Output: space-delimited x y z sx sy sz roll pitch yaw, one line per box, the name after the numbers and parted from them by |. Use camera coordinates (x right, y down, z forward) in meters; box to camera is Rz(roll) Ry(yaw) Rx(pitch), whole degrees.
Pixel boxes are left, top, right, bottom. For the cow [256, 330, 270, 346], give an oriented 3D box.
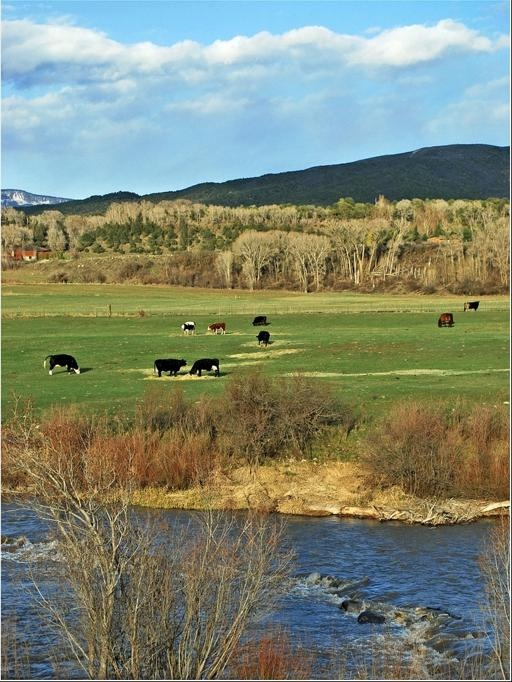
0.403 -0.066 69.265 0.671 0.795 2.283 -5 3 0 | cow

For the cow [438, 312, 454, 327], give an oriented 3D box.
12.946 -1.270 83.204 0.519 1.339 2.141 0 5 -4 | cow

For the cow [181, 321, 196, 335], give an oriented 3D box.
-4.432 -0.689 79.799 0.749 0.751 2.411 -5 3 -6 | cow

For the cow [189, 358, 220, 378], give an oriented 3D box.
-2.322 1.245 54.618 1.278 0.757 2.076 -6 3 -5 | cow
